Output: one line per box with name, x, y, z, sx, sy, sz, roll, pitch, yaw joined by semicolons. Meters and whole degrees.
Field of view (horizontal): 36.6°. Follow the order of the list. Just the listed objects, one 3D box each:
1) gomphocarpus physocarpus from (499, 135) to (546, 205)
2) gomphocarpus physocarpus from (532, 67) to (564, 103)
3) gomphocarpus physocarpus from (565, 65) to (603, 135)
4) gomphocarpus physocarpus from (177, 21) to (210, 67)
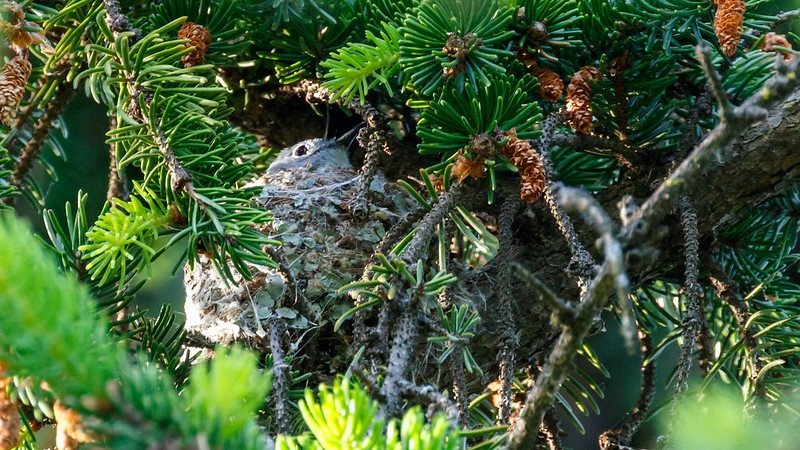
gomphocarpus physocarpus;0.363;-0.172;3.575;0.106;0.114;0.204;2;56;-47
gomphocarpus physocarpus;0.454;-0.427;3.724;0.067;0.060;0.121;7;41;-23
gomphocarpus physocarpus;0.544;-0.373;3.632;0.072;0.238;0.084;1;3;20
gomphocarpus physocarpus;-0.638;-0.569;3.779;0.087;0.103;0.136;-10;58;-34
